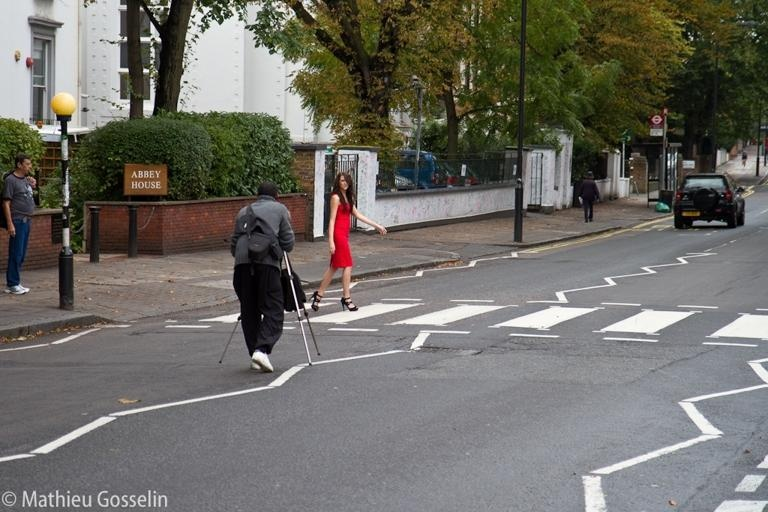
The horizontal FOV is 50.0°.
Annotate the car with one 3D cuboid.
[{"bbox_3d":[1.641,-3.248,32.163,1.403,1.404,7.160,1,5,22],"label":"car"}]

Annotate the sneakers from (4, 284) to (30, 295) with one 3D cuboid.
[{"bbox_3d":[-6.986,0.652,15.681,0.397,0.170,0.211,2,2,5],"label":"sneakers"}]

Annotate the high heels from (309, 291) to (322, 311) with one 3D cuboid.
[{"bbox_3d":[-1.279,0.852,15.331,0.110,0.146,0.405,-6,46,4],"label":"high heels"}]

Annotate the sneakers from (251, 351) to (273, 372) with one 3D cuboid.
[{"bbox_3d":[-1.572,1.370,10.685,0.281,0.302,0.320,-2,4,-10],"label":"sneakers"}]

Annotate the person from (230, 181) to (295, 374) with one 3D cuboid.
[{"bbox_3d":[-1.553,0.252,10.826,0.715,2.422,0.646,-3,4,-29],"label":"person"}]

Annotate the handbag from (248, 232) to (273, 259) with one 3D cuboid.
[{"bbox_3d":[-1.616,-0.127,10.737,0.300,0.352,0.167,-2,4,-11],"label":"handbag"}]
